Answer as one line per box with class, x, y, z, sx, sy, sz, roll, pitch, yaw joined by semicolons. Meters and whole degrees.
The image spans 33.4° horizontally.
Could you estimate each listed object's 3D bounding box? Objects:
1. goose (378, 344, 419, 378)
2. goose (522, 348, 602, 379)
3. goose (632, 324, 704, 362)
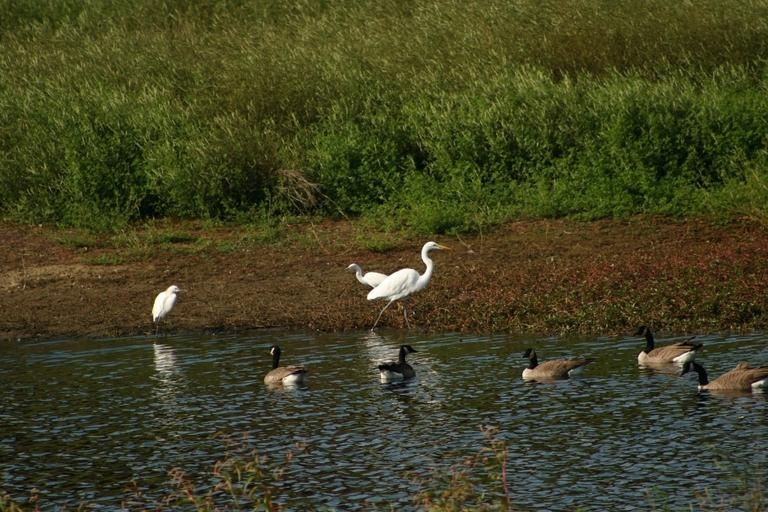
goose;0.414;3.197;37.825;0.761;1.093;1.736;-7;-6;30
goose;4.927;3.136;37.290;1.953;0.821;0.717;-7;18;1
goose;8.353;2.688;37.970;3.001;1.183;1.433;-1;-1;-9
